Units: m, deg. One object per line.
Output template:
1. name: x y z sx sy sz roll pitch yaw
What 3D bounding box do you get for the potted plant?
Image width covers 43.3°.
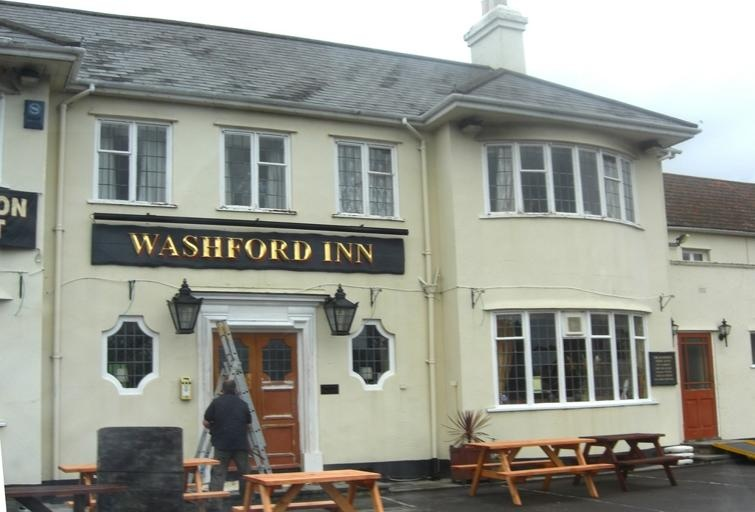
1. potted plant: 2.074 4.015 20.201 1.079 1.441 1.088 -4 -7 11

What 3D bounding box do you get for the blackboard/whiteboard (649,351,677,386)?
1. blackboard/whiteboard: 6.655 2.591 21.953 0.990 0.759 0.103 3 -8 -30

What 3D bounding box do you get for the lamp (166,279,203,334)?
1. lamp: -3.853 1.038 19.088 0.637 1.100 0.631 2 -12 -14

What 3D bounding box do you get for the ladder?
1. ladder: -2.807 2.774 18.950 1.843 2.823 1.295 6 -8 -18
